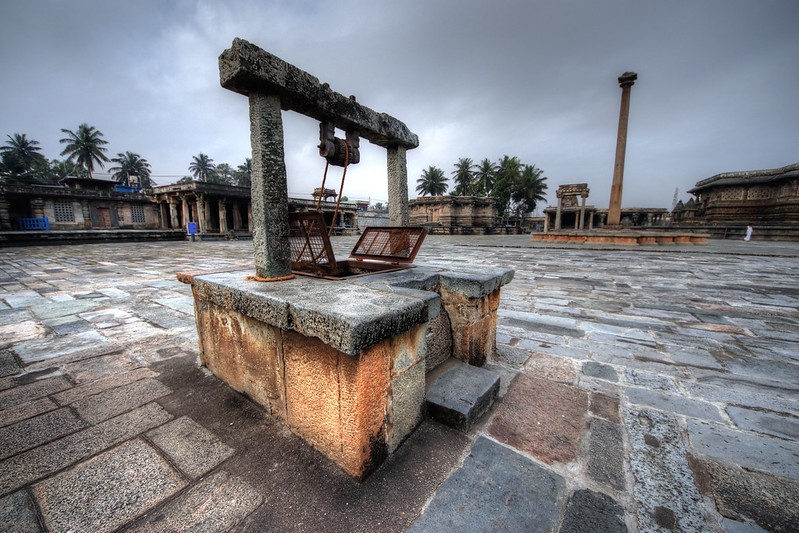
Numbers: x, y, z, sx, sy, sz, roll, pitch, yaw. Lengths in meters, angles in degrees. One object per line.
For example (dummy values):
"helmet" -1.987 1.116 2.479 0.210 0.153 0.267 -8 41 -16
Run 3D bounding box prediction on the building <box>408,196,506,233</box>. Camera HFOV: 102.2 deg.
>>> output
"building" 5.262 -5.314 34.057 10.165 3.385 9.803 2 8 28

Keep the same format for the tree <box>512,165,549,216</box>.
"tree" 15.755 -10.072 40.866 5.130 5.786 4.532 -1 -1 34

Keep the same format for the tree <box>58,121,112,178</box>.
"tree" -29.784 -11.481 30.968 3.718 3.771 3.566 -4 8 44
